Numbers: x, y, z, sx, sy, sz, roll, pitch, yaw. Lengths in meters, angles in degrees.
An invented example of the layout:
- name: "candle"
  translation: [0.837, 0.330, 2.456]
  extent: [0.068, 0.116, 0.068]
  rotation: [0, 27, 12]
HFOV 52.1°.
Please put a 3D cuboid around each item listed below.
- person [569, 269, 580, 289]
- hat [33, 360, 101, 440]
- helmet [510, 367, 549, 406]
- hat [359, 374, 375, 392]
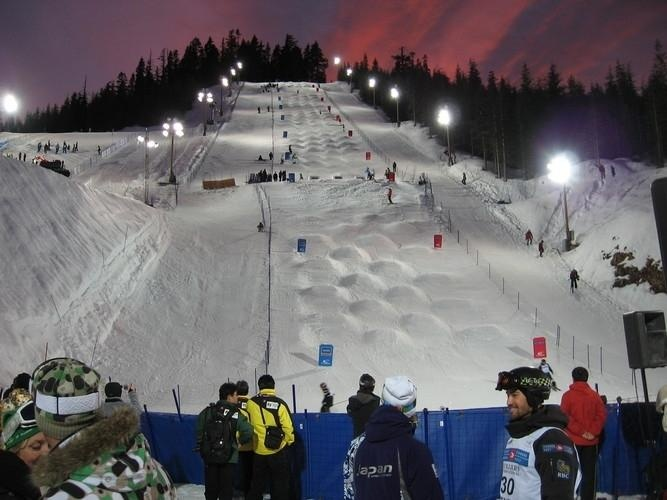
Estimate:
- name: "person"
  translation: [11.043, 1.331, 31.332]
  extent: [0.417, 0.988, 1.543]
  rotation: [0, -4, 21]
- name: "hat"
  translation: [-3.974, 2.090, 10.078]
  extent: [0.844, 1.043, 1.182]
  rotation: [-3, 15, -33]
- name: "helmet"
  translation: [3.194, 2.172, 11.036]
  extent: [0.544, 0.546, 0.491]
  rotation: [-1, 3, -6]
- name: "hat"
  translation: [0.632, 2.599, 13.287]
  extent: [0.258, 0.304, 0.316]
  rotation: [6, 22, 18]
